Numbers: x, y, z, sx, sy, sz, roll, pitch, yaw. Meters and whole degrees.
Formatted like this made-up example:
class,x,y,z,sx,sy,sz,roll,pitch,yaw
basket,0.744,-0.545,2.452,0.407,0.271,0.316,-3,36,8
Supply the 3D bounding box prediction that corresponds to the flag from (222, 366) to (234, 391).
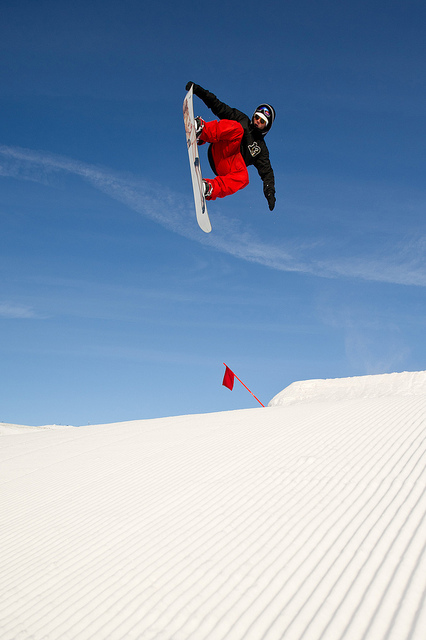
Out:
class,x,y,z,sx,sy,sz,roll,pitch,yaw
flag,0.678,2.542,18.921,0.460,1.048,1.680,-12,-2,-1
